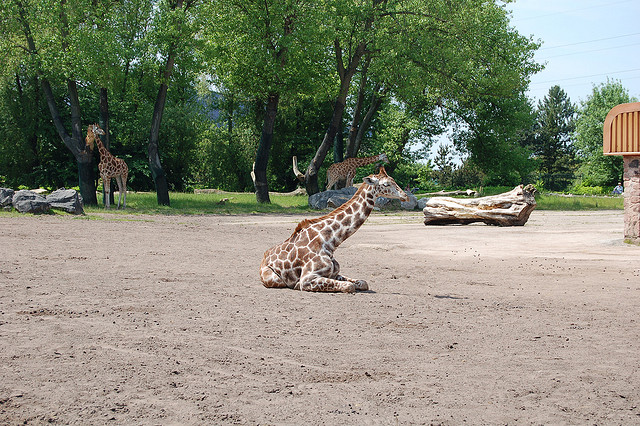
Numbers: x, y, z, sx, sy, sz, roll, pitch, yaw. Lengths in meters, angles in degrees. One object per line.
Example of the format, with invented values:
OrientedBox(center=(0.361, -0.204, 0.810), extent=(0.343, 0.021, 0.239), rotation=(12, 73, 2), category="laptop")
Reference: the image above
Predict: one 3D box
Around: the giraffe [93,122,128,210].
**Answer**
OrientedBox(center=(-11.735, -2.652, 53.542), extent=(1.653, 4.736, 2.539), rotation=(0, 2, 2), category="giraffe")

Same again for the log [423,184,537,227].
OrientedBox(center=(8.324, -0.557, 50.335), extent=(6.031, 2.357, 2.352), rotation=(0, -2, 27), category="log")

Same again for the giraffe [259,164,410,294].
OrientedBox(center=(0.502, 0.766, 38.606), extent=(6.462, 4.706, 2.674), rotation=(-3, 2, 15), category="giraffe")

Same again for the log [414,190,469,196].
OrientedBox(center=(9.011, -1.552, 70.659), extent=(3.057, 0.397, 0.513), rotation=(-6, 5, 2), category="log")

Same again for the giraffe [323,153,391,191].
OrientedBox(center=(2.454, -2.766, 62.557), extent=(4.484, 2.678, 0.908), rotation=(-1, 21, 15), category="giraffe")
